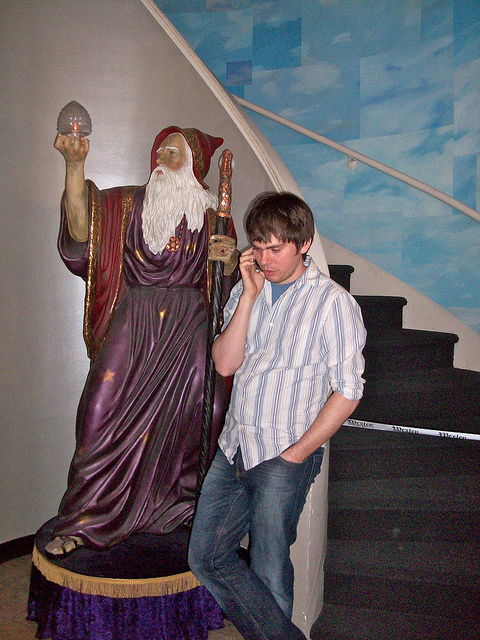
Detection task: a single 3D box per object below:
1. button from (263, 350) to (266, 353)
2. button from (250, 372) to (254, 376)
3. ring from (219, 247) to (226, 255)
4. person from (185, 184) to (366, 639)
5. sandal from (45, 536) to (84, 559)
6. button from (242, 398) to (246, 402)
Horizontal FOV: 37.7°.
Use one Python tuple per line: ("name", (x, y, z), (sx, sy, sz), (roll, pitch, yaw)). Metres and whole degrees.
("button", (0.073, 0.093, 2.115), (0.009, 0.008, 0.003), (8, 11, 15))
("button", (0.035, 0.162, 2.123), (0.004, 0.010, 0.015), (-5, 14, -43))
("ring", (-0.062, -0.243, 2.443), (0.016, 0.022, 0.008), (6, -1, -8))
("person", (0.116, 0.289, 2.113), (0.467, 1.315, 0.323), (6, 11, 4))
("sandal", (-0.640, 0.822, 2.530), (0.052, 0.047, 0.114), (12, 13, 33))
("button", (0.010, 0.242, 2.134), (0.003, 0.012, 0.012), (-1, 12, -31))
